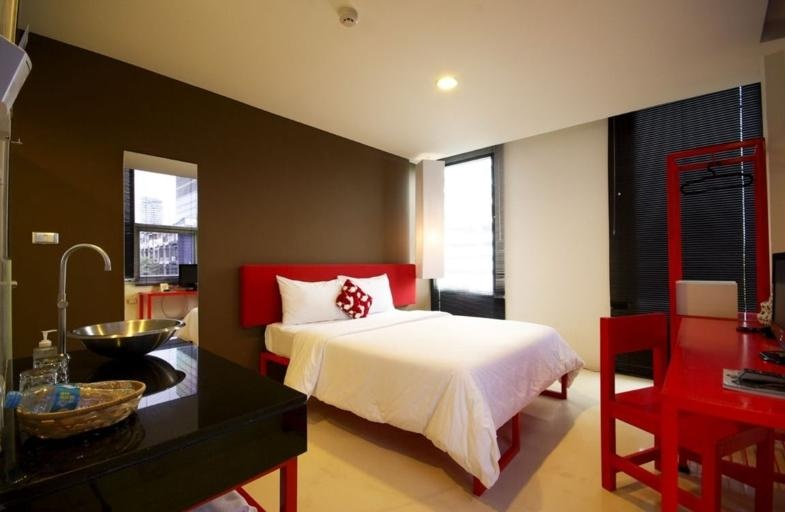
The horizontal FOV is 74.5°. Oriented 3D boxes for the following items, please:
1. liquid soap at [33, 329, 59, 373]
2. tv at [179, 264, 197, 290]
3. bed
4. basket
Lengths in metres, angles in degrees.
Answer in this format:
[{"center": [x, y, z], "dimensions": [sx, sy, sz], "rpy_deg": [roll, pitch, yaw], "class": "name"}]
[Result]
[{"center": [-2.204, 0.599, 3.236], "dimensions": [0.124, 0.251, 0.125], "rpy_deg": [9, -5, 19], "class": "liquid soap"}, {"center": [-1.950, 0.201, 4.893], "dimensions": [0.080, 0.245, 0.241], "rpy_deg": [-2, 2, 27], "class": "tv"}, {"center": [0.062, 0.971, 4.791], "dimensions": [2.160, 1.179, 2.200], "rpy_deg": [-2, -1, 36], "class": "bed"}, {"center": [-1.707, 0.844, 2.801], "dimensions": [0.430, 0.158, 0.361], "rpy_deg": [-4, -1, 6], "class": "basket"}]
